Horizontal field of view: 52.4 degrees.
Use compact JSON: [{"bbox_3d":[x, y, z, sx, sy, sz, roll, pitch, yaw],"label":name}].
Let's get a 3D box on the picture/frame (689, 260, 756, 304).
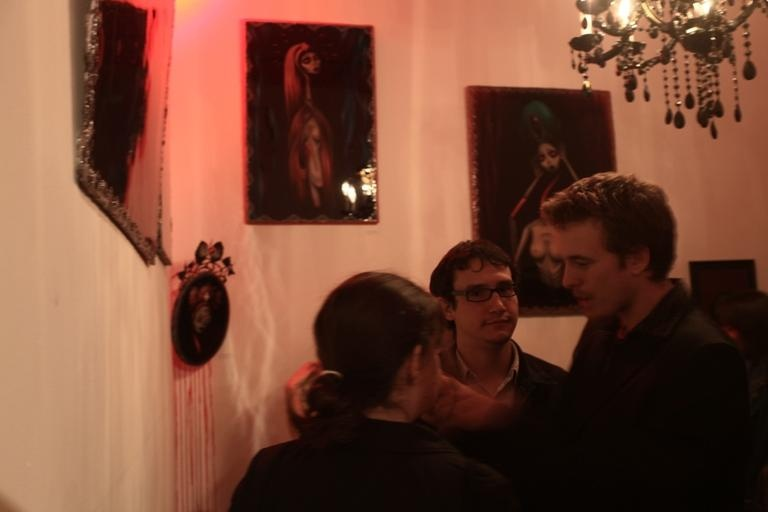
[{"bbox_3d":[2.831,0.234,6.603,0.340,0.357,0.024,3,-13,-14],"label":"picture/frame"}]
